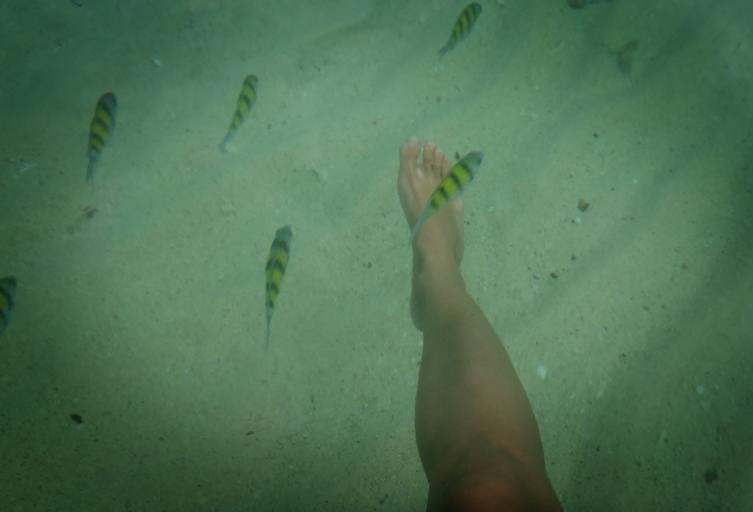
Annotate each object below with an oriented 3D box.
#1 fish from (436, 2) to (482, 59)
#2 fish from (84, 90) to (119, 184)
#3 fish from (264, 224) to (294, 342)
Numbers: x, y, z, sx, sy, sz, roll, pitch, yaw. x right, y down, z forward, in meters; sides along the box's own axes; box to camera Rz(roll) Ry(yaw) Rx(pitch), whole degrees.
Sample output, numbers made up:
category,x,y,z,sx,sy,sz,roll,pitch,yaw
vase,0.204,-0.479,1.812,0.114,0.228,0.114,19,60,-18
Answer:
category,x,y,z,sx,sy,sz,roll,pitch,yaw
fish,0.352,-0.959,3.755,0.089,0.073,0.305,32,-72,-6
fish,-1.197,-0.510,3.760,0.096,0.269,0.236,21,-46,-26
fish,-0.435,0.115,3.715,0.089,0.372,0.270,12,-42,-17
